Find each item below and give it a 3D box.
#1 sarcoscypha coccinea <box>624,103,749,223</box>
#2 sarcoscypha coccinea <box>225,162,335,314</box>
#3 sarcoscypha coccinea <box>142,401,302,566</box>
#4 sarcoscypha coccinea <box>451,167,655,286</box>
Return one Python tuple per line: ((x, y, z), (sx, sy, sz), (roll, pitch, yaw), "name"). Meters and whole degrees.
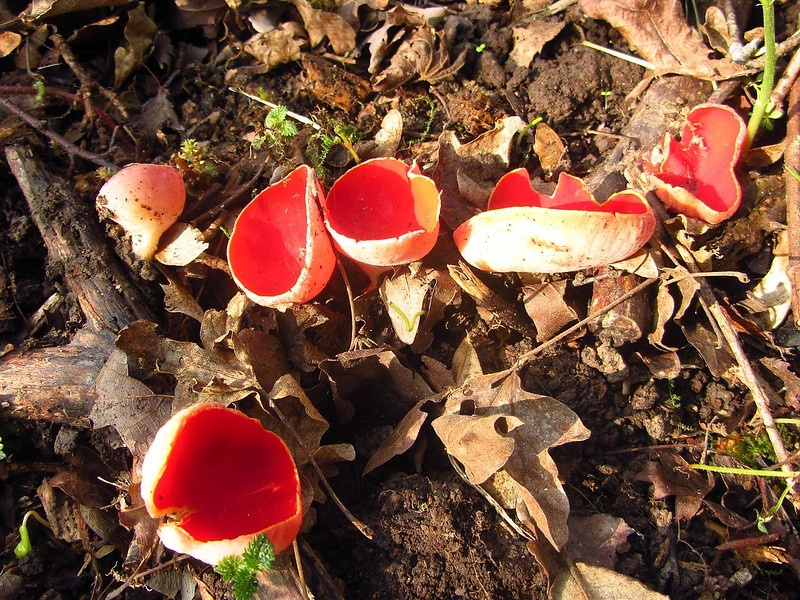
((1.333, -0.602, 3.089), (0.420, 0.222, 0.479), (39, 73, 8), "sarcoscypha coccinea")
((-0.448, -0.239, 3.193), (0.569, 0.355, 0.631), (-8, 67, 22), "sarcoscypha coccinea")
((-0.734, 0.791, 2.956), (0.592, 0.274, 0.659), (40, 50, 16), "sarcoscypha coccinea")
((0.635, -0.274, 2.890), (0.607, 0.536, 0.284), (-4, 93, 19), "sarcoscypha coccinea")
